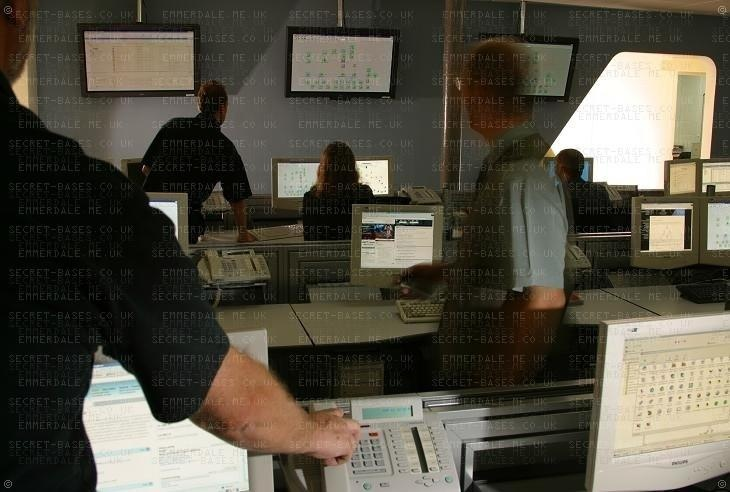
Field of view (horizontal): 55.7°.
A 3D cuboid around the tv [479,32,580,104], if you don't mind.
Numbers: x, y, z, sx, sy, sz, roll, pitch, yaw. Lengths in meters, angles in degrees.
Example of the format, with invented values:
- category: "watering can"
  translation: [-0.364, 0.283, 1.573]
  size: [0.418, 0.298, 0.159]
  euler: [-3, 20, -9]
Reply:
- category: "tv"
  translation: [0.487, -0.505, 1.949]
  size: [0.253, 0.199, 0.051]
  euler: [-8, 14, -18]

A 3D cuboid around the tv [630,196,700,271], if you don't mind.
- category: "tv"
  translation: [0.893, -0.045, 2.080]
  size: [0.240, 0.221, 0.123]
  euler: [1, 1, -10]

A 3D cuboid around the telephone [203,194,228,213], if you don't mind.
- category: "telephone"
  translation: [-0.402, -0.115, 1.846]
  size: [0.054, 0.036, 0.052]
  euler: [-1, 7, -10]

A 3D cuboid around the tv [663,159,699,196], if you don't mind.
- category: "tv"
  translation: [0.945, -0.204, 2.075]
  size: [0.114, 0.102, 0.015]
  euler: [-6, -2, -29]

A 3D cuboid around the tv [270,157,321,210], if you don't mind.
- category: "tv"
  translation: [-0.196, -0.176, 1.875]
  size: [0.135, 0.124, 0.069]
  euler: [0, 22, -6]

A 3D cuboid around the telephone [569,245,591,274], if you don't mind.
- category: "telephone"
  translation: [0.638, 0.041, 2.060]
  size: [0.083, 0.071, 0.021]
  euler: [-3, 7, -13]

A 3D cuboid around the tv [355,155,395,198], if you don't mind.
- category: "tv"
  translation: [0.014, -0.204, 1.947]
  size: [0.154, 0.135, 0.076]
  euler: [1, 15, -3]
